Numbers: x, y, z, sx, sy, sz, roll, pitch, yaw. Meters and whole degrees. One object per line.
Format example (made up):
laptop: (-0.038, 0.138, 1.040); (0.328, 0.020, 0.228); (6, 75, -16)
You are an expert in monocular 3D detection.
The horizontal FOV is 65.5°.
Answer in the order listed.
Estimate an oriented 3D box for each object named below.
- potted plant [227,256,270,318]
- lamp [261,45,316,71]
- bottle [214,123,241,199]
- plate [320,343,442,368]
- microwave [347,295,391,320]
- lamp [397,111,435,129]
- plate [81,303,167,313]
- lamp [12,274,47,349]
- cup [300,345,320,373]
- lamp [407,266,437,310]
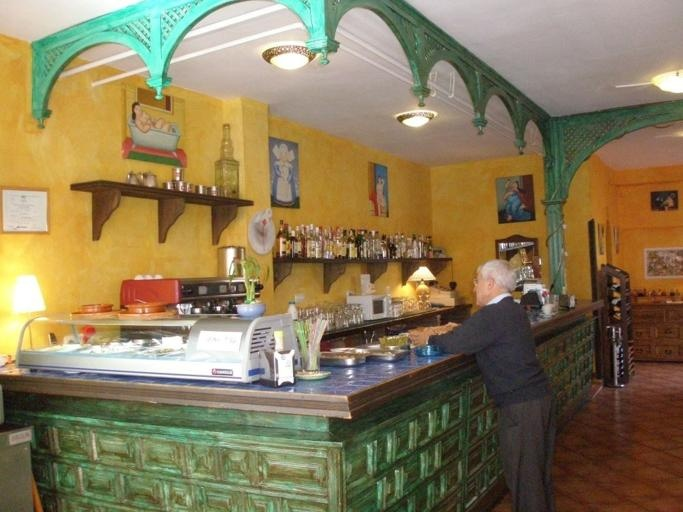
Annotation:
potted plant: (-0.611, 0.190, 3.552); (0.174, 0.406, 0.725); (-1, -3, -10)
lamp: (-0.491, -1.767, 4.735); (0.470, 0.118, 0.297); (-2, -3, 26)
bottle: (-1.254, -1.042, 5.822); (0.259, 0.804, 0.168); (0, -2, -17)
plate: (0.246, 0.663, 3.702); (0.893, 0.091, 0.534); (0, -3, -17)
microwave: (0.360, 0.683, 7.324); (0.347, 0.277, 0.463); (-4, -6, 32)
lamp: (0.921, -1.713, 6.578); (0.465, 0.141, 0.240); (-2, -3, 28)
plate: (-1.597, 0.359, 3.756); (0.762, 0.068, 0.361); (-3, -3, 41)
lamp: (-2.486, 0.425, 4.207); (0.222, 0.567, 0.353); (0, -3, -33)
cup: (-0.181, 0.613, 3.236); (0.131, 0.187, 0.145); (-3, -5, 22)
lamp: (1.362, 0.485, 8.953); (0.613, 0.852, 0.615); (0, -5, 0)
